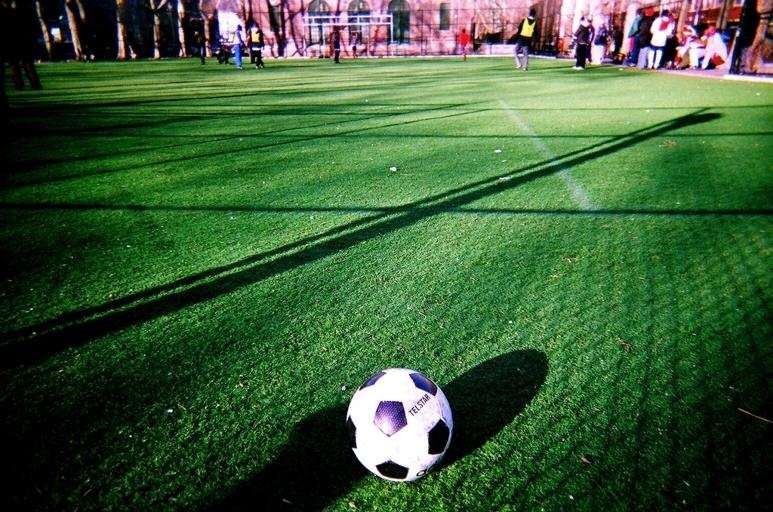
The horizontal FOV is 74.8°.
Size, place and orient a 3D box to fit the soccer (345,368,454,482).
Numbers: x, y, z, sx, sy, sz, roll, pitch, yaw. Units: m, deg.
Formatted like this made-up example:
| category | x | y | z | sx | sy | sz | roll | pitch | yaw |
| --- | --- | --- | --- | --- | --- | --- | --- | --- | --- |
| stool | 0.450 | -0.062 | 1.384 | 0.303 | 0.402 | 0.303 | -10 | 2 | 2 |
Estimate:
| category | x | y | z | sx | sy | sz | roll | pitch | yaw |
| --- | --- | --- | --- | --- | --- | --- | --- | --- | --- |
| soccer | 0.074 | 1.006 | 3.025 | 0.606 | 0.618 | 0.623 | 11 | 41 | 4 |

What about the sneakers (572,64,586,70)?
| category | x | y | z | sx | sy | sz | roll | pitch | yaw |
| --- | --- | --- | --- | --- | --- | --- | --- | --- | --- |
| sneakers | 8.051 | -7.929 | 21.171 | 0.268 | 0.192 | 0.641 | 3 | 16 | 15 |
